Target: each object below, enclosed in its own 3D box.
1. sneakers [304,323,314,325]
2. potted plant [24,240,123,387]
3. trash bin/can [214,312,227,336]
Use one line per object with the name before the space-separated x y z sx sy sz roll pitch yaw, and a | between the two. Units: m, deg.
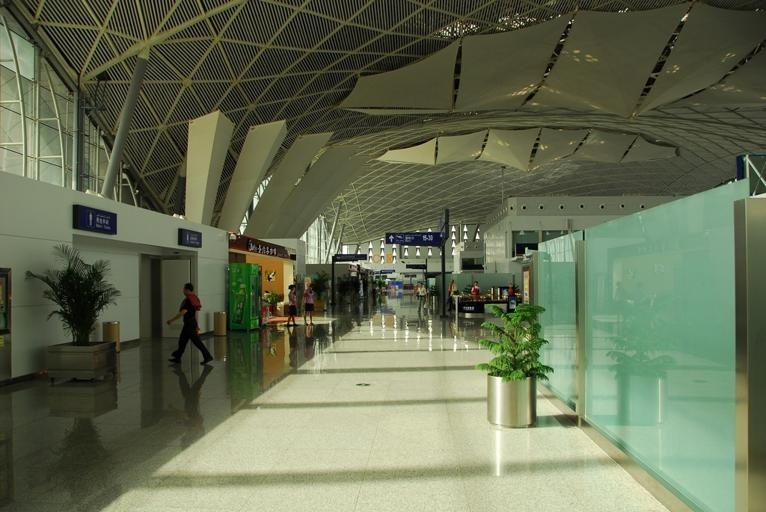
sneakers | -3.277 2.985 26.117 0.383 0.154 0.129 -6 -6 27
potted plant | -6.945 1.348 13.936 1.977 2.722 1.834 -4 -4 34
trash bin/can | -5.792 2.376 20.865 0.339 0.784 0.640 -3 6 -24
